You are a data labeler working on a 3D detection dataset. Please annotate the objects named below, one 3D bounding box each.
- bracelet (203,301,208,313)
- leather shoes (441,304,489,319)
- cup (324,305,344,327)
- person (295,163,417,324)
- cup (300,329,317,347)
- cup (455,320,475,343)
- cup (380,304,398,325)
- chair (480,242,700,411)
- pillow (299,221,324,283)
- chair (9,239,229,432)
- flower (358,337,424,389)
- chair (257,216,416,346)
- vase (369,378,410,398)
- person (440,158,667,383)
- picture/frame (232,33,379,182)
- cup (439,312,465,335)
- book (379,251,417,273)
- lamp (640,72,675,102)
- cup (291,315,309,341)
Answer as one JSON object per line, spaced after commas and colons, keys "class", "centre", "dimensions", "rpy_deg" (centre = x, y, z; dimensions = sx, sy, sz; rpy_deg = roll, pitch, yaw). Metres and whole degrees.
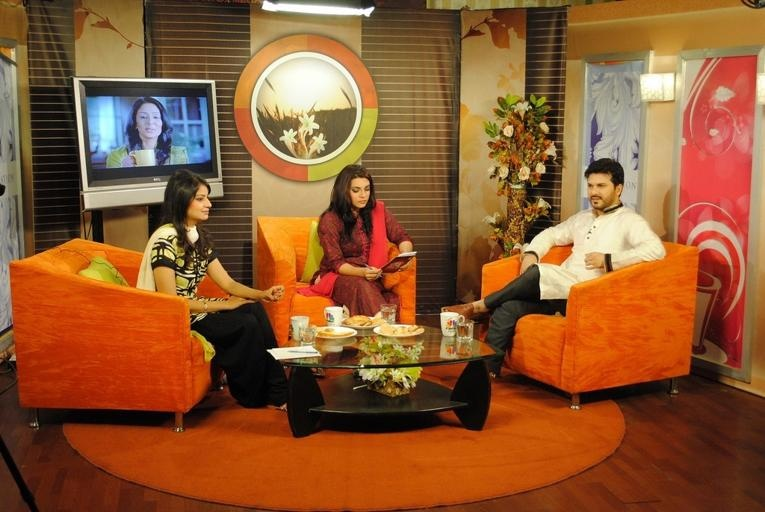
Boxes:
{"class": "bracelet", "centre": [-1.149, 0.337, 3.701], "dimensions": [0.021, 0.055, 0.042], "rpy_deg": [0, -5, 3]}
{"class": "leather shoes", "centre": [0.665, 0.404, 4.245], "dimensions": [0.280, 0.070, 0.158], "rpy_deg": [-5, 5, -33]}
{"class": "cup", "centre": [-0.321, 0.404, 3.790], "dimensions": [0.133, 0.102, 0.107], "rpy_deg": [0, 5, -10]}
{"class": "person", "centre": [-0.144, 0.012, 4.685], "dimensions": [0.876, 1.441, 1.039], "rpy_deg": [-5, 14, -20]}
{"class": "cup", "centre": [-0.462, 0.507, 3.488], "dimensions": [0.096, 0.100, 0.095], "rpy_deg": [1, 0, 0]}
{"class": "cup", "centre": [0.513, 0.473, 3.542], "dimensions": [0.123, 0.121, 0.125], "rpy_deg": [1, -2, 0]}
{"class": "cup", "centre": [0.043, 0.391, 3.815], "dimensions": [0.129, 0.138, 0.125], "rpy_deg": [0, 0, 0]}
{"class": "chair", "centre": [1.539, 0.410, 4.353], "dimensions": [1.185, 0.852, 1.136], "rpy_deg": [-3, 6, -17]}
{"class": "pillow", "centre": [-0.596, -0.013, 4.842], "dimensions": [0.172, 0.429, 0.387], "rpy_deg": [7, 25, -6]}
{"class": "chair", "centre": [-1.665, 0.413, 3.797], "dimensions": [1.170, 0.983, 1.081], "rpy_deg": [-1, 9, -10]}
{"class": "flower", "centre": [0.033, 0.673, 3.425], "dimensions": [0.355, 0.248, 0.370], "rpy_deg": [6, 8, 41]}
{"class": "chair", "centre": [-0.421, 0.153, 4.953], "dimensions": [1.294, 0.932, 0.953], "rpy_deg": [0, 7, -19]}
{"class": "vase", "centre": [0.049, 0.830, 3.575], "dimensions": [0.152, 0.053, 0.129], "rpy_deg": [2, 2, 37]}
{"class": "person", "centre": [1.307, 0.079, 4.317], "dimensions": [1.392, 1.653, 0.967], "rpy_deg": [3, 2, -15]}
{"class": "picture/frame", "centre": [-0.790, -1.491, 5.483], "dimensions": [1.658, 1.580, 0.066], "rpy_deg": [0, 6, -3]}
{"class": "cup", "centre": [0.451, 0.435, 3.628], "dimensions": [0.121, 0.117, 0.152], "rpy_deg": [2, 0, 32]}
{"class": "book", "centre": [0.152, 0.052, 4.454], "dimensions": [0.227, 0.186, 0.343], "rpy_deg": [3, 11, 20]}
{"class": "lamp", "centre": [2.257, -1.383, 4.613], "dimensions": [0.249, 0.211, 0.138], "rpy_deg": [6, 10, 41]}
{"class": "cup", "centre": [-0.507, 0.453, 3.533], "dimensions": [0.139, 0.147, 0.142], "rpy_deg": [1, 1, 0]}
